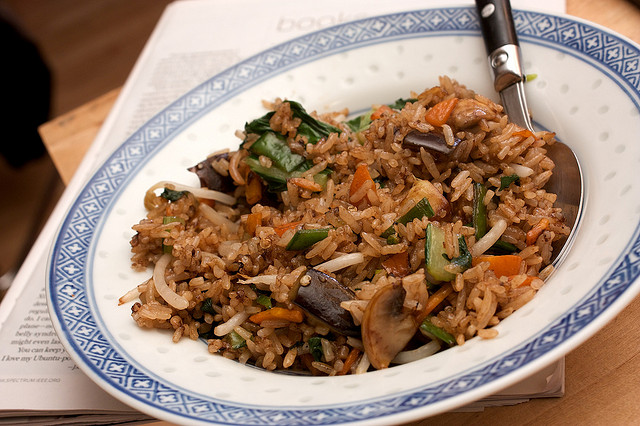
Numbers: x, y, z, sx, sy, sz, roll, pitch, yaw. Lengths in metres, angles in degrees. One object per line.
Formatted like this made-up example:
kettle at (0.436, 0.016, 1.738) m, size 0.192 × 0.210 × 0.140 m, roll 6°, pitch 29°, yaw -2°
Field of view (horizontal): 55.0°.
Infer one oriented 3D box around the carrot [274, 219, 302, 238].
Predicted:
carrot at (-0.203, 0.087, 3.735) m, size 0.070 × 0.057 × 0.252 m, roll 1°, pitch 21°, yaw 46°

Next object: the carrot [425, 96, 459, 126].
carrot at (0.743, -0.641, 3.745) m, size 0.156 × 0.183 × 0.047 m, roll 12°, pitch -28°, yaw 44°

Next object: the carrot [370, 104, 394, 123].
carrot at (0.415, -0.690, 4.178) m, size 0.133 × 0.045 × 0.132 m, roll -36°, pitch 33°, yaw -13°

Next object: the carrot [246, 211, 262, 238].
carrot at (-0.418, 0.066, 3.824) m, size 0.033 × 0.141 × 0.097 m, roll 11°, pitch 11°, yaw -43°
